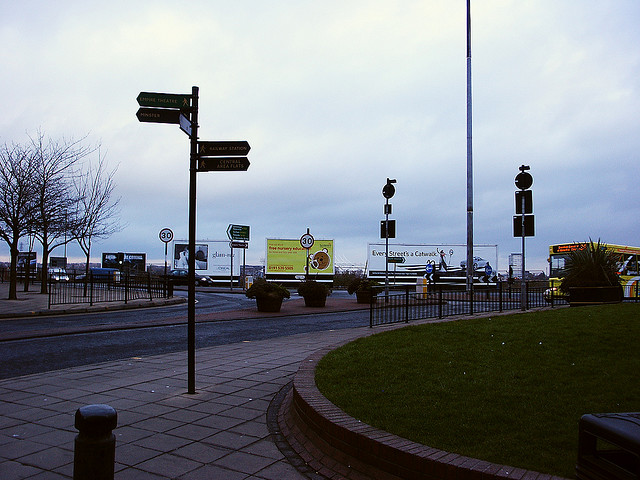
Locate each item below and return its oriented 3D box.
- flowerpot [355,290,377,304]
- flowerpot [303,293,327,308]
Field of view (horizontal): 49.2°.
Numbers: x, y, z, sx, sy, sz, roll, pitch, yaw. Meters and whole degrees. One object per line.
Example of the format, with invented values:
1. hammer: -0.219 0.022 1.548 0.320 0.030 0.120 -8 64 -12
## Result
1. flowerpot: 1.934 2.477 31.178 0.824 0.554 0.867 0 -9 6
2. flowerpot: -0.144 2.434 28.445 0.645 0.441 0.640 5 -6 -39
